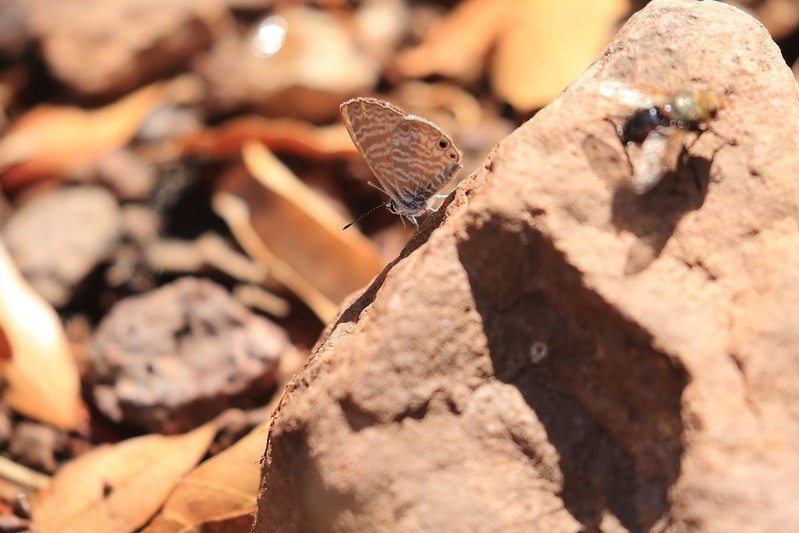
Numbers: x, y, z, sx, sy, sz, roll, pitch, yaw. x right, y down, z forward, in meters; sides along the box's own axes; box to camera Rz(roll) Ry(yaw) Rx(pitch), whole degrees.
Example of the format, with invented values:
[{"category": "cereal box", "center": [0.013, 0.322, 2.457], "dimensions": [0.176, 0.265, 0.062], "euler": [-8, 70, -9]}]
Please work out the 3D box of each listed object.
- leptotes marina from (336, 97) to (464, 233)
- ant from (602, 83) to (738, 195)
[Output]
[{"category": "leptotes marina", "center": [0.004, -0.341, 3.536], "dimensions": [0.325, 0.458, 0.377], "euler": [-20, 86, -7]}, {"category": "ant", "center": [0.792, -0.412, 3.205], "dimensions": [0.349, 0.179, 0.243], "euler": [-19, 55, -6]}]
